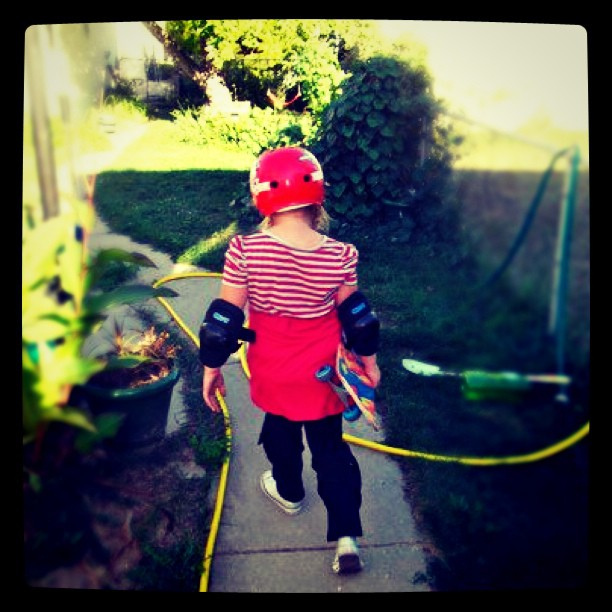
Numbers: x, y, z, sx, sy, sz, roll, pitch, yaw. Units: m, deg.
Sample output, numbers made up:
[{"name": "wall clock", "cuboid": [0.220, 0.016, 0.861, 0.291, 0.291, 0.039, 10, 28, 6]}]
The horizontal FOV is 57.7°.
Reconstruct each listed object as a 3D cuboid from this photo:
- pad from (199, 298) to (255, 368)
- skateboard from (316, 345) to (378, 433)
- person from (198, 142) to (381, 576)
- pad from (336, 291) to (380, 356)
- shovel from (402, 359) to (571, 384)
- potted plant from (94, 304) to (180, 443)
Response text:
[{"name": "pad", "cuboid": [-0.300, 0.118, 2.130, 0.204, 0.279, 0.102, 2, 18, -5]}, {"name": "skateboard", "cuboid": [0.154, 0.325, 2.258, 0.295, 0.218, 0.112, 42, 28, 18]}, {"name": "person", "cuboid": [-0.043, 0.243, 2.240, 0.704, 1.678, 0.338, 5, 18, 7]}, {"name": "pad", "cuboid": [0.201, 0.067, 2.317, 0.152, 0.259, 0.242, -29, 10, -8]}, {"name": "shovel", "cuboid": [0.842, 0.374, 2.941, 0.474, 0.119, 0.396, 6, 13, 25]}, {"name": "potted plant", "cuboid": [-0.813, 0.350, 2.653, 0.386, 0.623, 0.383, -15, 30, -32]}]
